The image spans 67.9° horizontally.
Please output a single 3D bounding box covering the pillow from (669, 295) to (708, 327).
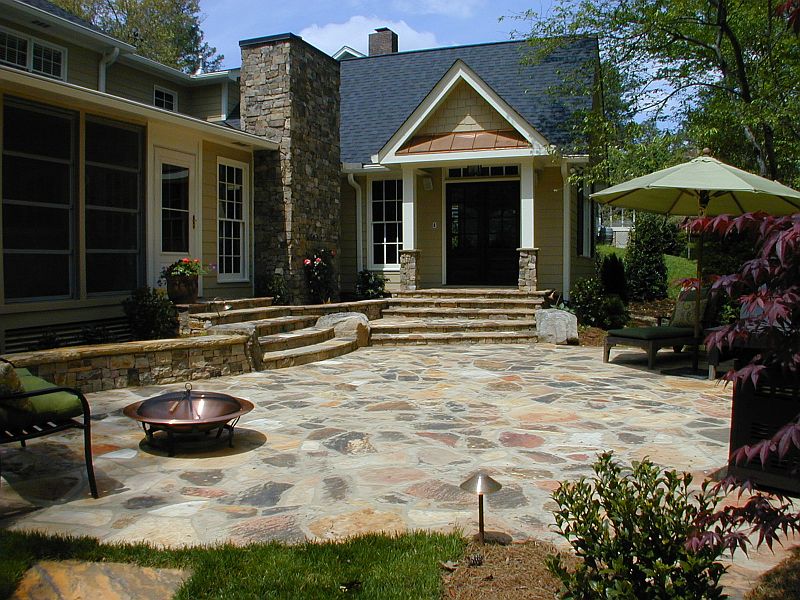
[{"bbox_3d":[5.082,0.178,10.461,0.640,0.622,0.231,-4,-30,47],"label":"pillow"}]

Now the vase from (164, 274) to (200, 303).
[{"bbox_3d":[-3.832,-0.211,10.539,0.534,0.388,0.491,-2,-6,-4],"label":"vase"}]

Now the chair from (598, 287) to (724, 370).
[{"bbox_3d":[4.769,0.488,10.206,2.469,1.776,1.358,1,-3,-32],"label":"chair"}]

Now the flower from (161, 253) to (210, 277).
[{"bbox_3d":[-3.854,-0.581,10.566,0.625,0.297,0.610,-3,4,-28],"label":"flower"}]
